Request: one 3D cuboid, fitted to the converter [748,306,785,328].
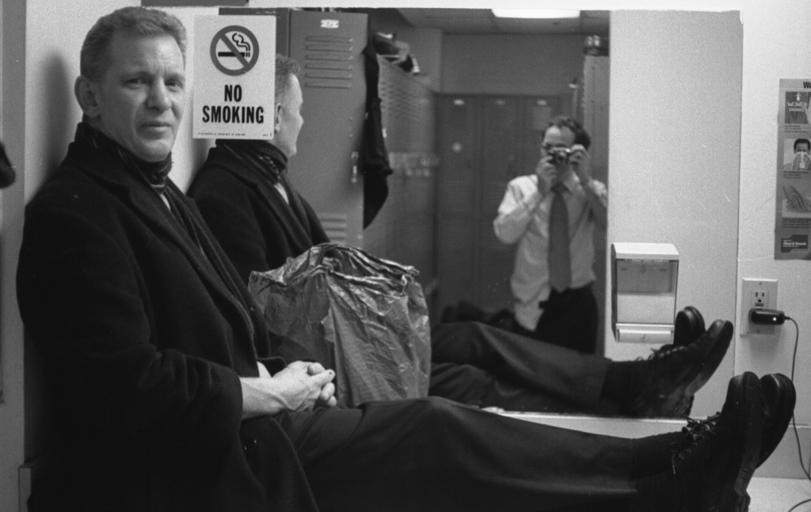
[{"bbox_3d":[1.414,0.237,3.541,0.120,0.066,0.043,1,4,9],"label":"converter"}]

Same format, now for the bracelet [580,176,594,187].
[{"bbox_3d":[0.716,-0.294,3.564,0.038,0.033,0.029,12,-15,10],"label":"bracelet"}]
